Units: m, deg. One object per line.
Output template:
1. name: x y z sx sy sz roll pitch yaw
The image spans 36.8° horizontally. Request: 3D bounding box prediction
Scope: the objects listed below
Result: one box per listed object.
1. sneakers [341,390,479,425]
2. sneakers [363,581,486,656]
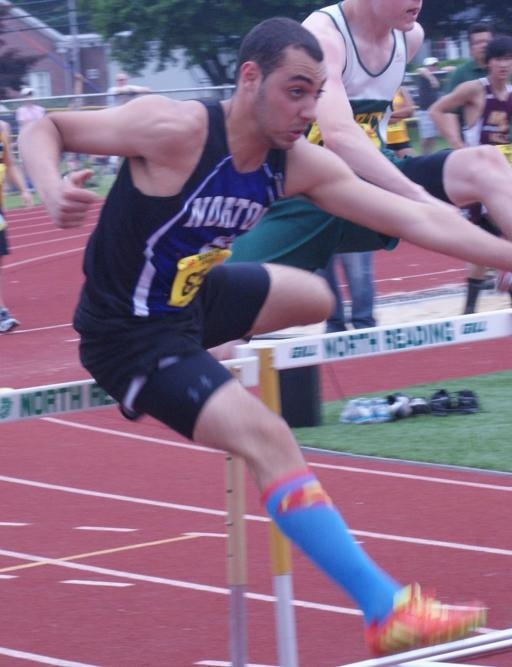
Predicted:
1. sneakers: 0.824 0.391 4.151 0.633 0.101 0.261 -4 2 -7
2. sneakers: 0.268 0.459 1.265 0.235 0.085 0.071 -3 3 -18
